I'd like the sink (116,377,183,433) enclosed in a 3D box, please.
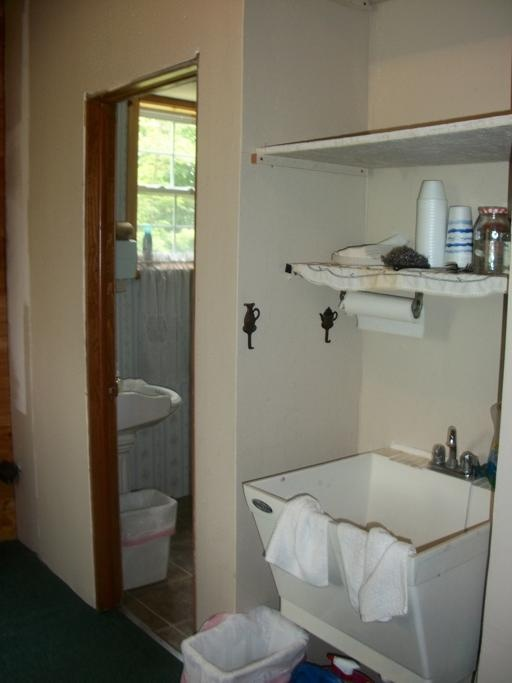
[{"bbox_3d":[-0.539,0.302,2.743,0.222,0.127,0.205,-6,9,-43],"label":"sink"}]

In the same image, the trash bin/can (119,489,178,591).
[{"bbox_3d":[-0.533,0.870,2.751,0.319,0.518,0.308,-4,12,-24],"label":"trash bin/can"}]

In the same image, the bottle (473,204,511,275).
[{"bbox_3d":[0.517,-0.218,1.282,0.065,0.148,0.144,1,4,9],"label":"bottle"}]
